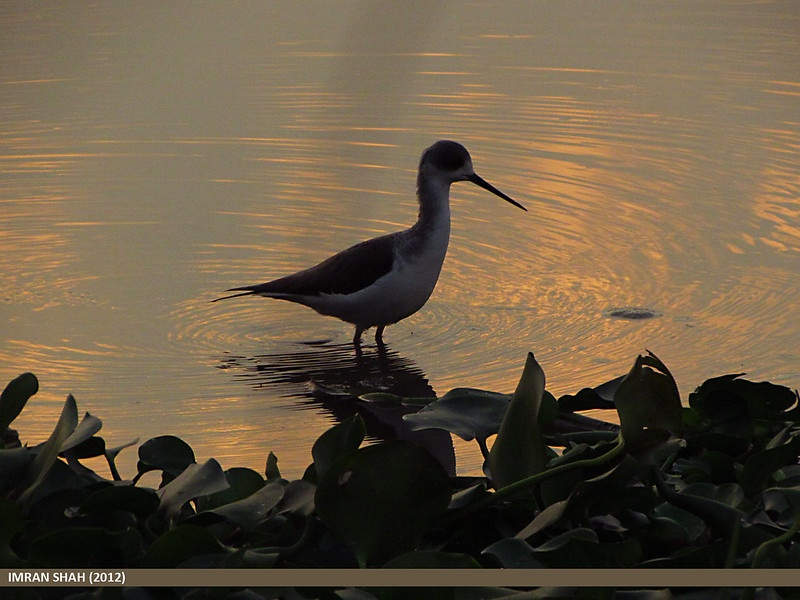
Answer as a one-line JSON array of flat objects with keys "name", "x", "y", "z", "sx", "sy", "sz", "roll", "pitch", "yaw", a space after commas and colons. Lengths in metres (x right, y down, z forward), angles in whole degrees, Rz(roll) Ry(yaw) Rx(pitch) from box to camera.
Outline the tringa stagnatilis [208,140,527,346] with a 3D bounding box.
[{"name": "tringa stagnatilis", "x": -0.111, "y": -0.312, "z": 5.796, "sx": 1.213, "sy": 1.286, "sz": 0.355, "roll": -15, "pitch": -35, "yaw": 20}]
